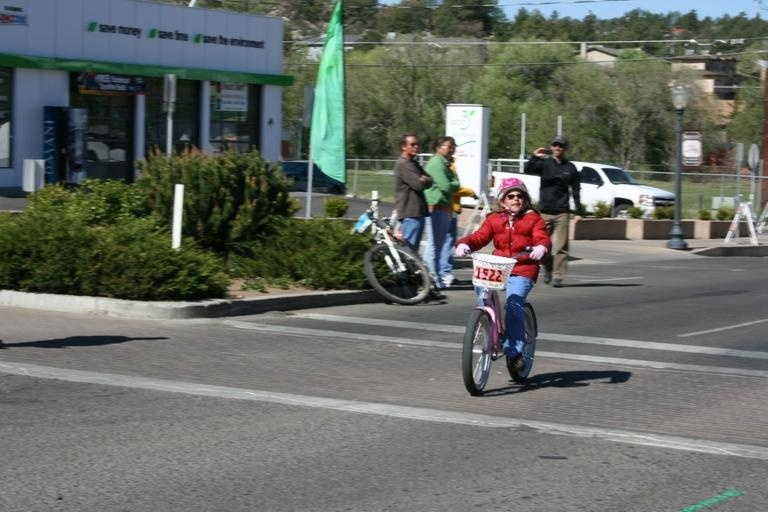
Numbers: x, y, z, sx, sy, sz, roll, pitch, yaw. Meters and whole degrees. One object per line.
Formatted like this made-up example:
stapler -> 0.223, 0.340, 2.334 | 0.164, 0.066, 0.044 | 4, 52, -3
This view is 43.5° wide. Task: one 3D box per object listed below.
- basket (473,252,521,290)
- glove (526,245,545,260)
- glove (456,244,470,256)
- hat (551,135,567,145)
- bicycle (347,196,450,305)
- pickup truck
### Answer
basket -> 1.113, 0.166, 9.924 | 0.443, 0.371, 0.282 | 6, 14, 11
glove -> 1.592, -0.042, 10.005 | 0.159, 0.068, 0.165 | -29, 20, 30
glove -> 0.824, -0.060, 10.128 | 0.186, 0.107, 0.051 | -9, -8, -14
hat -> 2.945, -1.930, 16.194 | 0.221, 0.097, 0.244 | -3, -20, 26
bicycle -> 0.214, -0.039, 15.072 | 1.439, 1.434, 1.493 | 3, 13, -3
pickup truck -> 6.824, -2.200, 32.527 | 5.995, 1.392, 2.468 | 10, 12, 34
